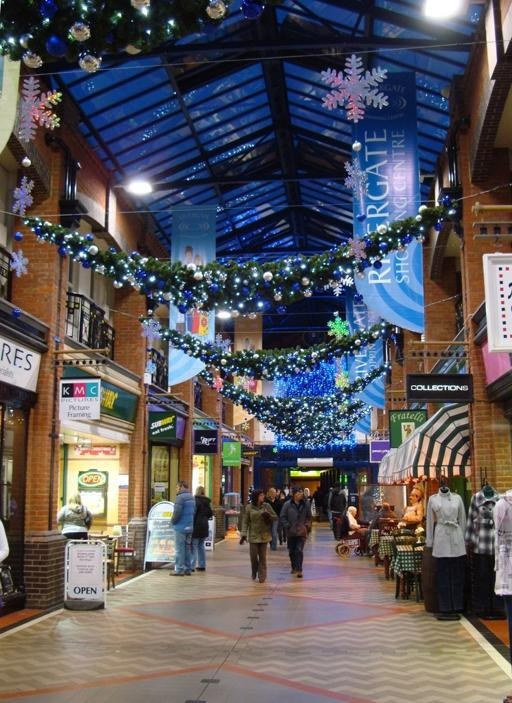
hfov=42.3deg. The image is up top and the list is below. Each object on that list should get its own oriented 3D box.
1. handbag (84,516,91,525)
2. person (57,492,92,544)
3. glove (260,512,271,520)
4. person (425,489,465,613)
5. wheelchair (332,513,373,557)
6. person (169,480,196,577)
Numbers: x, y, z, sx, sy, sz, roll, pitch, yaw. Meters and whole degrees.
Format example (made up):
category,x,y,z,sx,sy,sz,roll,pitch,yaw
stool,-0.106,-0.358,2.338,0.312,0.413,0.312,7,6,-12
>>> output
category,x,y,z,sx,sy,sz,roll,pitch,yaw
handbag,-2.798,2.801,10.926,0.064,0.152,0.118,7,5,36
person,-2.967,2.665,10.698,0.522,0.702,0.641,2,-13,-8
glove,0.199,3.042,12.204,0.172,0.160,0.061,-5,-14,20
person,2.423,2.526,8.388,0.510,1.596,0.597,-3,-14,13
wheelchair,2.651,4.893,17.879,1.020,0.917,0.616,-17,15,5
person,-1.467,3.519,13.177,0.444,1.789,0.492,3,-14,-15
